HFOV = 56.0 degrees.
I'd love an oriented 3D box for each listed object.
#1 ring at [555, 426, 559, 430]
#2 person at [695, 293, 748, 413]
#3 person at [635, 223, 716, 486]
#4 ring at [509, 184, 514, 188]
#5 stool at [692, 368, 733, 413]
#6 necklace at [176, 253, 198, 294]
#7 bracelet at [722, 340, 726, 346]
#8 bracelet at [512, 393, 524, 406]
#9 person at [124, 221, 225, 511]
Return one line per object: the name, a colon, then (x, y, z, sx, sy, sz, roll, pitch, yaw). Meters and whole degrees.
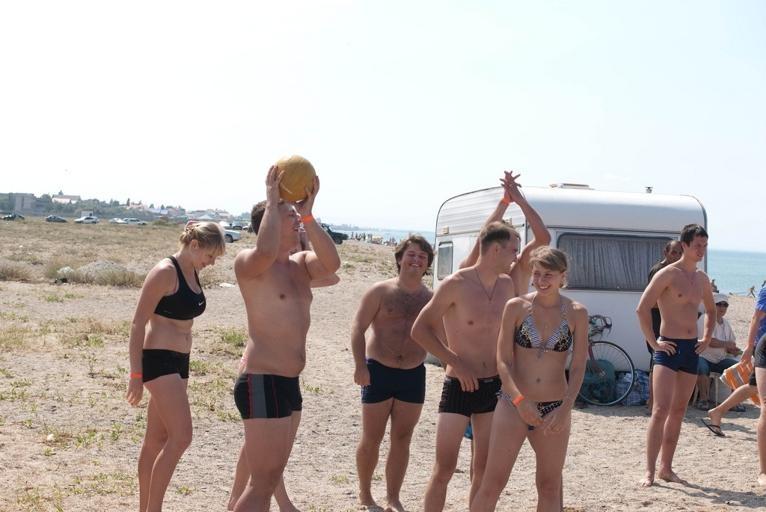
ring: (1.703, 1.698, 7.079, 0.029, 0.008, 0.032, -8, 21, 3)
person: (5.776, 1.642, 12.395, 0.925, 2.006, 1.067, 1, -2, 7)
person: (3.710, 1.224, 9.062, 1.012, 3.170, 0.611, 3, -1, -15)
ring: (1.529, -0.832, 8.653, 0.037, 0.026, 0.054, -7, 6, 18)
stool: (5.470, 2.303, 12.095, 0.497, 0.700, 0.609, 7, 7, 4)
necklace: (-2.218, 0.212, 7.835, 0.215, 0.404, 0.358, -12, -11, 5)
bracelet: (5.648, 1.458, 12.006, 0.067, 0.073, 0.073, -8, -15, 17)
bracelet: (1.329, 1.433, 7.150, 0.038, 0.100, 0.101, 38, 41, 2)
person: (-2.371, 1.165, 7.898, 1.064, 2.987, 1.223, 1, -3, -35)
